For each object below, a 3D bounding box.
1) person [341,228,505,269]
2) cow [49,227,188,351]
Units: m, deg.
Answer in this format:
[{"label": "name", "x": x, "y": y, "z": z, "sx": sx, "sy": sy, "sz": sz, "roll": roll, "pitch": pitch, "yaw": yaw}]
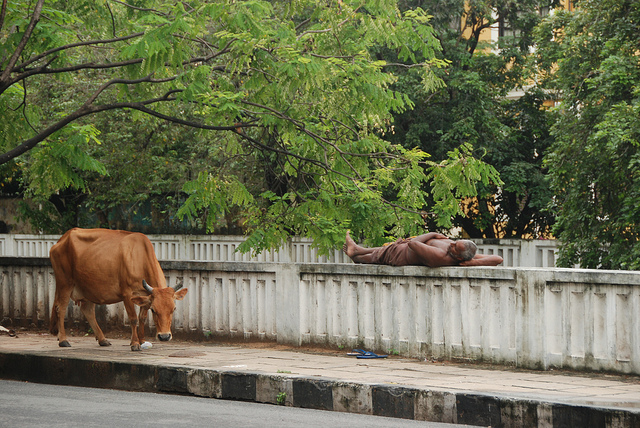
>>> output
[{"label": "person", "x": 2.022, "y": 0.721, "z": 26.024, "sx": 3.045, "sy": 0.732, "sz": 0.681, "roll": -1, "pitch": -4, "yaw": 28}, {"label": "cow", "x": -4.375, "y": 1.615, "z": 27.102, "sx": 3.306, "sy": 2.575, "sz": 1.244, "roll": 3, "pitch": 2, "yaw": 30}]
